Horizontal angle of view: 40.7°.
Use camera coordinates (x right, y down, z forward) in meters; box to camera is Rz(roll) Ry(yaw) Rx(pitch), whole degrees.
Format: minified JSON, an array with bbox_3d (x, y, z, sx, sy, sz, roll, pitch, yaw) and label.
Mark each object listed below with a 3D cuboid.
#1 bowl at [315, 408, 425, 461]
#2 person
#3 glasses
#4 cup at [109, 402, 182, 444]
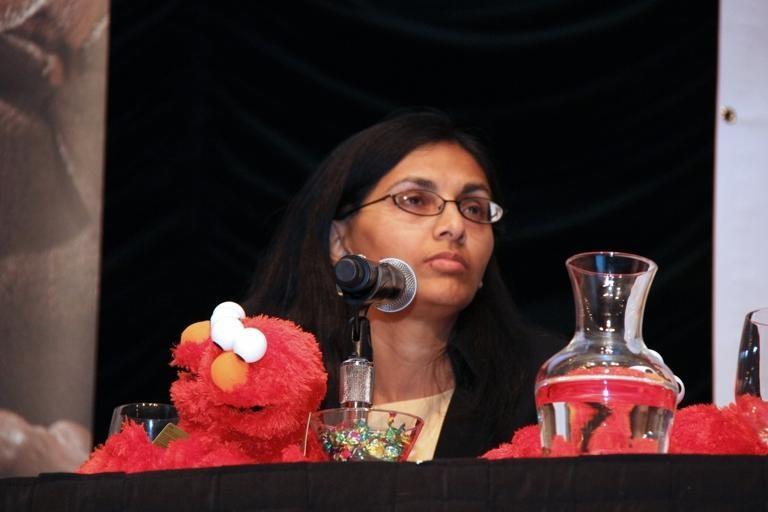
[{"bbox_3d":[-0.058,0.430,2.618,0.168,0.068,0.174,3,-9,0],"label":"bowl"},{"bbox_3d":[0.080,0.113,3.382,1.096,1.327,0.821,0,-24,1],"label":"person"},{"bbox_3d":[0.144,-0.170,3.543,0.488,0.103,0.084,2,-18,6],"label":"glasses"},{"bbox_3d":[-0.648,0.444,2.791,0.176,0.112,0.163,4,-18,1],"label":"cup"}]
